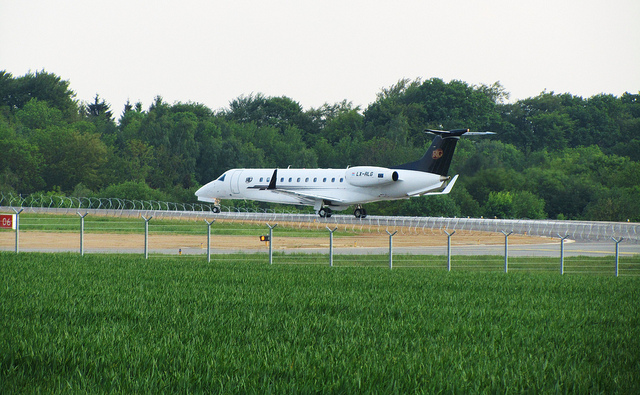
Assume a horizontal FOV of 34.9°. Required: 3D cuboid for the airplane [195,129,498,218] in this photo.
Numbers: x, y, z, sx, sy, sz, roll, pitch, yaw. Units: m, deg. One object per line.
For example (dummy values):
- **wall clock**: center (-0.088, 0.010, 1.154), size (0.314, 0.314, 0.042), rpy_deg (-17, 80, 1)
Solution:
- **airplane**: center (1.357, -1.657, 82.841), size (21.417, 6.715, 2.450), rpy_deg (-1, -1, 24)
